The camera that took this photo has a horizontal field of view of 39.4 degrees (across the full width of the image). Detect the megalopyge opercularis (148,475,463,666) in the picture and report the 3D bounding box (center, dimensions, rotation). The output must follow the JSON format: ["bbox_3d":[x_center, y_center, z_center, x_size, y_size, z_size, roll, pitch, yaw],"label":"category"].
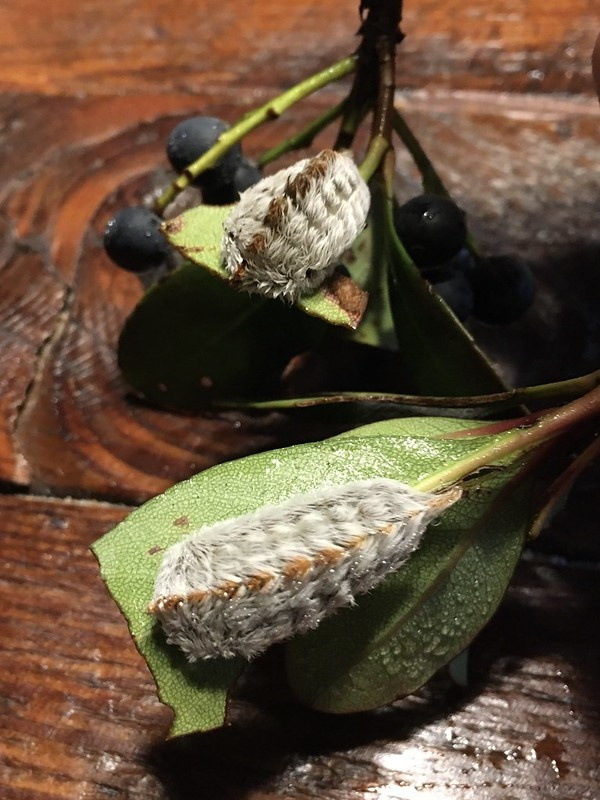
[{"bbox_3d":[-0.001,0.071,0.389,0.152,0.047,0.055,-13,34,-9],"label":"megalopyge opercularis"}]
